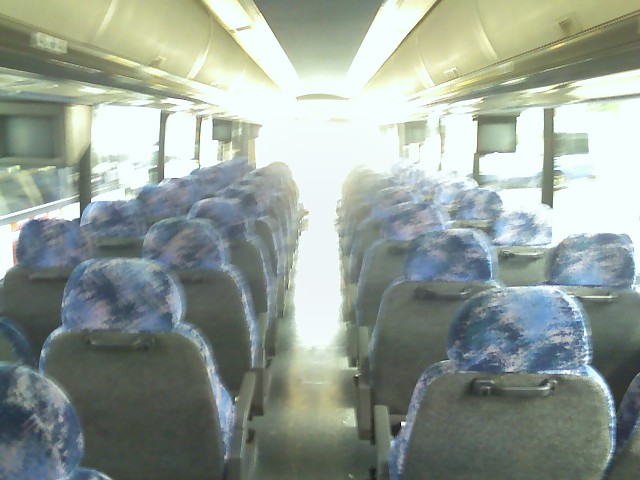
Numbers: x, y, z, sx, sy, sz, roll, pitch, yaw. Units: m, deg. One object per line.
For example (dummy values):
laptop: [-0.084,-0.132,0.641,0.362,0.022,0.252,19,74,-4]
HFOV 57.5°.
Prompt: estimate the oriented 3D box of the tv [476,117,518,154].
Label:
tv: [2.255,-1.359,7.571,0.484,0.485,0.123,4,1,29]
